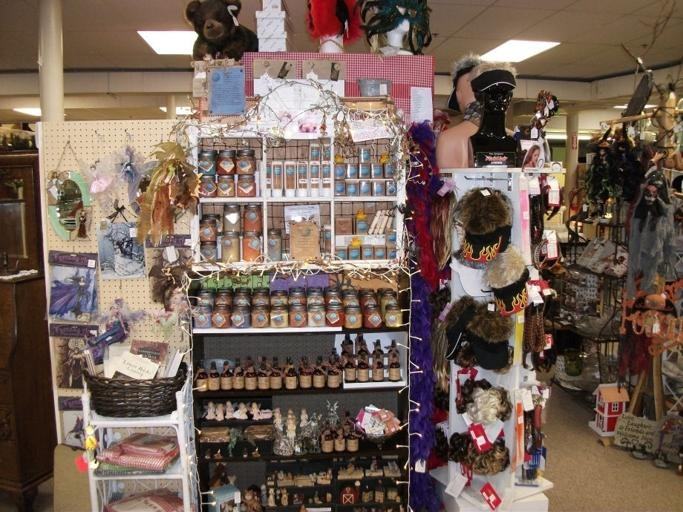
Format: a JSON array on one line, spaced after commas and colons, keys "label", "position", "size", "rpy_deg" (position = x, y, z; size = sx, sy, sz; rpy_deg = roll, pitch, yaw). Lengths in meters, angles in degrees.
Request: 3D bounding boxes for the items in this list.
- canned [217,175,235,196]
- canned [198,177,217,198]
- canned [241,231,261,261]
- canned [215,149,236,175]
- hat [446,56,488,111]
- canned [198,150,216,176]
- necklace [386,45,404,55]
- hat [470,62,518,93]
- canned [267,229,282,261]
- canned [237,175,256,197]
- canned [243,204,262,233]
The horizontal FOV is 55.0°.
[{"label": "canned", "position": [-0.859, -0.523, 4.872], "size": [0.123, 0.167, 0.133], "rpy_deg": [1, 4, 25]}, {"label": "canned", "position": [-0.995, -0.514, 4.881], "size": [0.123, 0.168, 0.136], "rpy_deg": [-1, 4, 0]}, {"label": "canned", "position": [-0.669, -0.069, 5.002], "size": [0.156, 0.212, 0.173], "rpy_deg": [1, 5, 7]}, {"label": "canned", "position": [-0.858, -0.695, 4.878], "size": [0.140, 0.194, 0.156], "rpy_deg": [0, 7, -3]}, {"label": "hat", "position": [1.004, -1.453, 5.481], "size": [0.187, 0.443, 0.299], "rpy_deg": [32, 32, 30]}, {"label": "canned", "position": [-0.998, -0.695, 4.882], "size": [0.141, 0.191, 0.153], "rpy_deg": [0, 7, -1]}, {"label": "necklace", "position": [0.436, -1.694, 5.376], "size": [0.072, 0.088, 0.024], "rpy_deg": [-4, -10, -3]}, {"label": "hat", "position": [1.207, -1.396, 5.160], "size": [0.225, 0.157, 0.283], "rpy_deg": [-8, 10, -41]}, {"label": "canned", "position": [-0.485, -0.089, 4.969], "size": [0.072, 0.231, 0.170], "rpy_deg": [3, 7, 30]}, {"label": "canned", "position": [-0.706, -0.521, 4.869], "size": [0.132, 0.176, 0.139], "rpy_deg": [1, 3, 36]}, {"label": "canned", "position": [-0.662, -0.287, 4.915], "size": [0.159, 0.282, 0.163], "rpy_deg": [-1, 1, -38]}]
